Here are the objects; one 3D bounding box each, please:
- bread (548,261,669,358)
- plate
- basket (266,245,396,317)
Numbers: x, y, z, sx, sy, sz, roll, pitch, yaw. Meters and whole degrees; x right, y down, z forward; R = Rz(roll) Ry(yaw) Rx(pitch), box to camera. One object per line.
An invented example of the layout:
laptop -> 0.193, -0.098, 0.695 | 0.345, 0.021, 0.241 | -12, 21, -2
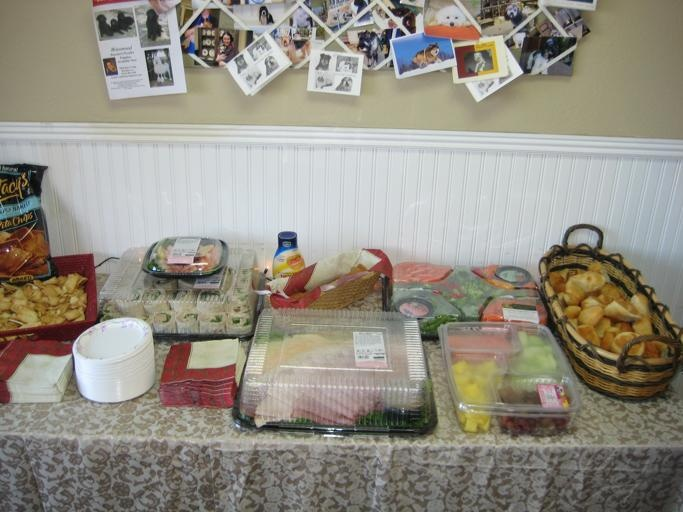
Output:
bread -> 0.862, 0.177, 1.580 | 0.195, 0.125, 0.334 | -3, 29, 2
plate -> -0.645, 0.292, 1.393 | 0.228, 0.159, 0.232 | 19, 33, 18
basket -> -0.045, 0.077, 1.741 | 0.356, 0.223, 0.325 | 26, 30, 36
